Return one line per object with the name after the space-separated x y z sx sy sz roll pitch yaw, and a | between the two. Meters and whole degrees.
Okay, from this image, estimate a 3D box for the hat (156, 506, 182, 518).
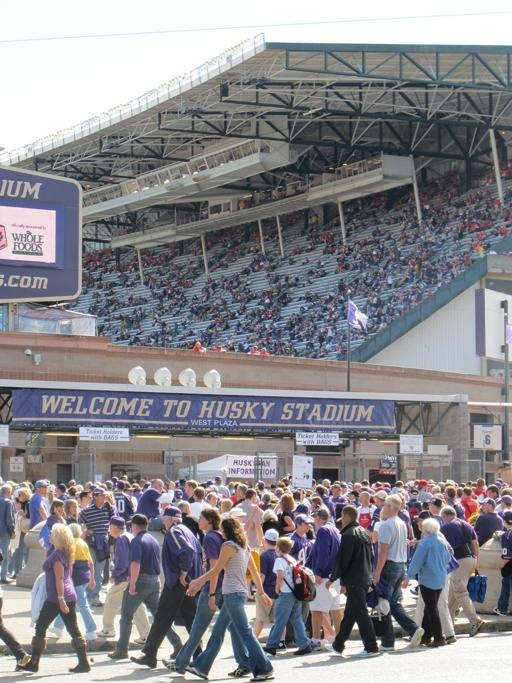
-1.014 2.093 16.563 0.214 0.153 0.299 1 -7 -4 | hat

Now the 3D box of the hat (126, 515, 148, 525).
-1.420 2.150 16.386 0.135 0.094 0.177 6 1 -39 | hat

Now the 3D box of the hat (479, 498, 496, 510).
3.536 2.433 20.435 0.188 0.205 0.257 6 -22 -13 | hat

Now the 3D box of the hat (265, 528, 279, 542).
0.214 2.479 17.309 0.138 0.094 0.173 0 14 -21 | hat

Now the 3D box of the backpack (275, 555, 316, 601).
0.490 2.890 16.511 0.557 0.487 0.500 -6 -9 6 | backpack

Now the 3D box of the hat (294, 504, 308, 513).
0.603 2.215 17.854 0.158 0.101 0.241 9 -9 -7 | hat

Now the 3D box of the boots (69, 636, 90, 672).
-2.018 3.611 15.702 0.238 0.395 0.481 2 -8 -7 | boots

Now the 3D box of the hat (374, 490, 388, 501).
1.787 2.226 19.543 0.179 0.087 0.135 18 11 35 | hat

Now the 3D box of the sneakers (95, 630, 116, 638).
-1.933 3.785 17.606 0.222 0.085 0.078 4 -3 10 | sneakers

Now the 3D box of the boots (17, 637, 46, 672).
-2.545 3.574 15.469 0.245 0.398 0.284 5 -9 -32 | boots

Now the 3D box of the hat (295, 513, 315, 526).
0.625 2.315 17.637 0.195 0.090 0.134 -6 -8 35 | hat
